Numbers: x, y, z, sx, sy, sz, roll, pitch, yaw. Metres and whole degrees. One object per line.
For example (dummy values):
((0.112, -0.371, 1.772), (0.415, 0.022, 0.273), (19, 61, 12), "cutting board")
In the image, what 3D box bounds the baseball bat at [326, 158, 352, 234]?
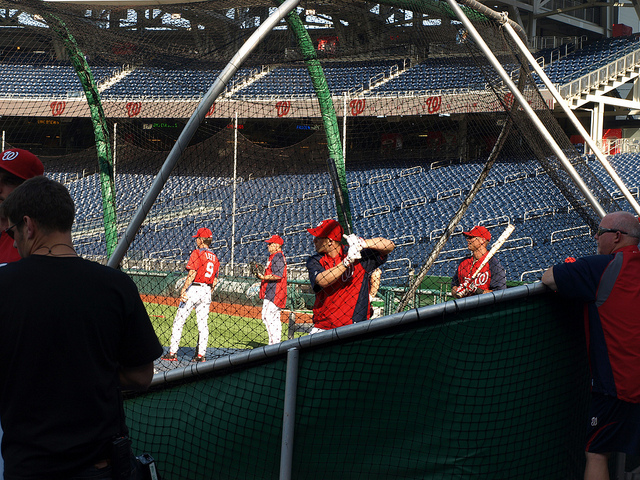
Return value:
((0.195, -0.461, 8.535), (0.118, 0.049, 1.089), (-27, 41, 5), "baseball bat")

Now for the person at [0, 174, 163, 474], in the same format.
((-1.535, 0.572, 5.254), (0.999, 1.852, 0.590), (-8, 17, -12), "person")

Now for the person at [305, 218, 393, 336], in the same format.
((0.235, 0.315, 7.297), (0.692, 0.954, 0.465), (-5, 17, 0), "person")

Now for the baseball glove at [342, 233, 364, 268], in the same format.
((0.263, 0.080, 7.049), (0.161, 0.237, 0.074), (2, -2, -6), "baseball glove")

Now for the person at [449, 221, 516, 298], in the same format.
((1.562, 0.422, 8.747), (0.621, 1.166, 0.431), (-2, -10, 42), "person")

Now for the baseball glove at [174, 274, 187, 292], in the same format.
((-1.819, 0.565, 11.157), (0.042, 0.179, 0.179), (31, -15, -5), "baseball glove")
